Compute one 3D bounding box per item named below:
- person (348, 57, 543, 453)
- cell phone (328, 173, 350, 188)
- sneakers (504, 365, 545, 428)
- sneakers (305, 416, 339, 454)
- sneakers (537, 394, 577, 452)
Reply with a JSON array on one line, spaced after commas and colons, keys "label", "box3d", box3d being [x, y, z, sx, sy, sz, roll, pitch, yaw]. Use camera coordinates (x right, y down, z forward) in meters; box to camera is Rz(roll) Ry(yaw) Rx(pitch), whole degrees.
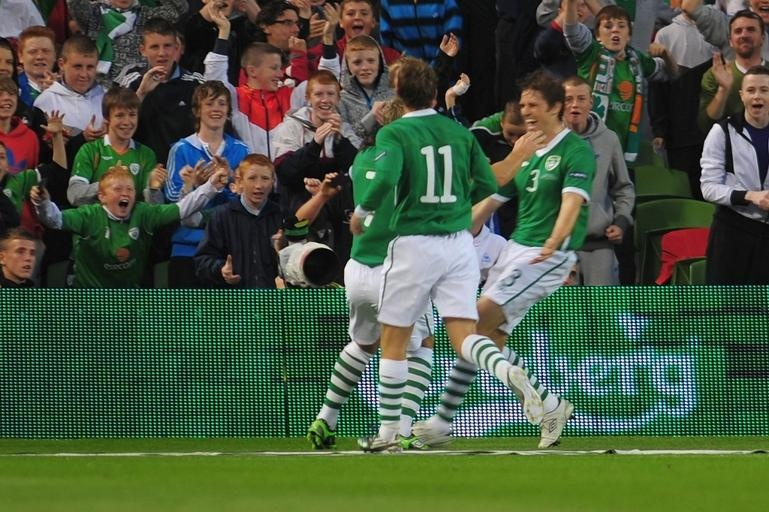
[{"label": "person", "box3d": [0.358, 0.008, 8.728, 1.151, 2.901, 0.806, -1, 10, 1]}, {"label": "cell phone", "box3d": [-0.421, -0.685, 10.771, 0.157, 0.085, 0.017, -11, -10, -32]}, {"label": "sneakers", "box3d": [1.002, 1.013, 8.550, 0.185, 0.499, 0.228, -32, -19, -8]}, {"label": "sneakers", "box3d": [-0.489, 1.386, 9.009, 0.152, 0.279, 0.118, 8, 52, 23]}, {"label": "sneakers", "box3d": [1.289, 1.377, 9.257, 0.214, 0.494, 0.167, 17, 11, -47]}]
